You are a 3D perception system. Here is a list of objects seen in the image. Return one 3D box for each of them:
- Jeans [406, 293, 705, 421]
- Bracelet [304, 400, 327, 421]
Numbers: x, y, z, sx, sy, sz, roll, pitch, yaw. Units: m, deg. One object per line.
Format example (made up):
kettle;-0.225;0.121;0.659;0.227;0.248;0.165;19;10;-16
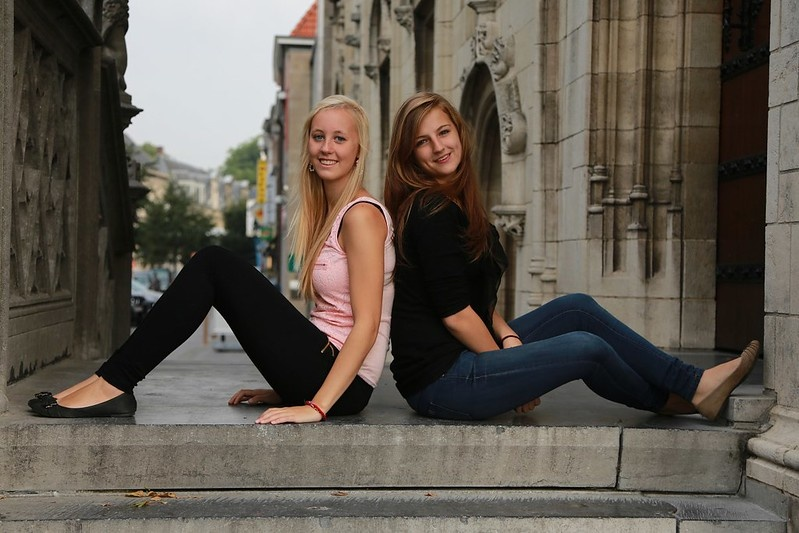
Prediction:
Jeans;1.044;0.591;9.034;1.932;0.695;0.858;0;-2;4
Bracelet;-0.538;0.942;8.724;0.125;0.132;0.070;1;-2;-20
